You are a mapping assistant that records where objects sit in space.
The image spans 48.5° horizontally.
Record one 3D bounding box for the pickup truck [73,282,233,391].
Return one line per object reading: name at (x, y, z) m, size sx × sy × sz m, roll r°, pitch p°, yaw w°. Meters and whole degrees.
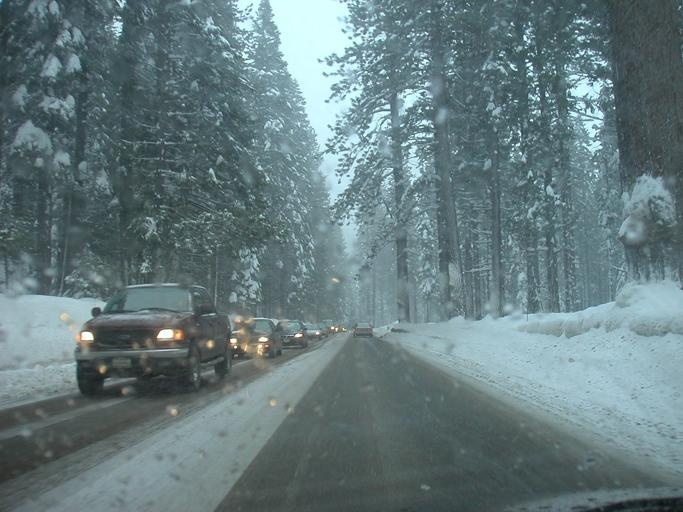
pickup truck at (-5.412, 2.700, 23.321) m, size 2.301 × 2.159 × 4.367 m, roll -1°, pitch -15°, yaw 2°
